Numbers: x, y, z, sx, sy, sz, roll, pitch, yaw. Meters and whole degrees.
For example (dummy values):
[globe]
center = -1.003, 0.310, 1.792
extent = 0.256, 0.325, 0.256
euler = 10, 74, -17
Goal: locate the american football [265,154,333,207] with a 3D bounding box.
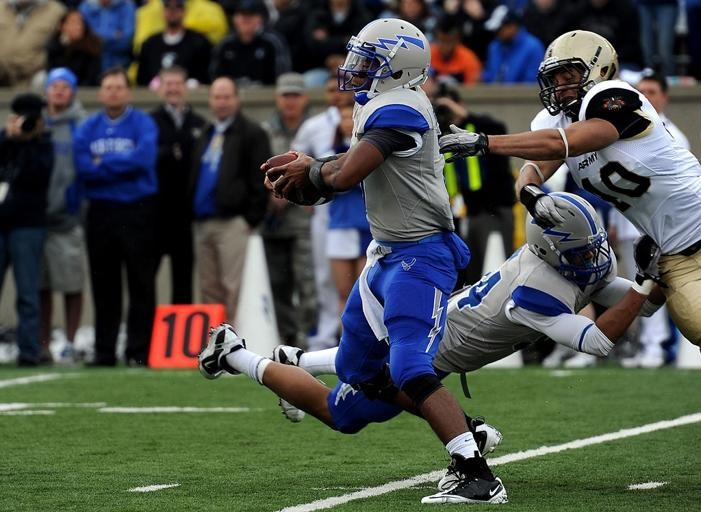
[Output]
[american football]
center = -0.253, -0.338, 5.270
extent = 0.271, 0.216, 0.166
euler = 24, -37, 1

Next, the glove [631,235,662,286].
[glove]
center = 1.413, 0.030, 5.459
extent = 0.077, 0.210, 0.165
euler = 2, 10, 6

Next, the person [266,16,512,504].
[person]
center = 0.203, -0.006, 5.389
extent = 1.064, 2.215, 0.697
euler = 0, 4, 8

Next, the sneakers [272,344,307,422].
[sneakers]
center = -0.323, 0.679, 6.060
extent = 0.206, 0.372, 0.136
euler = -12, -5, -11

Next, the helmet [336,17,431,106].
[helmet]
center = 0.159, -0.939, 5.523
extent = 0.422, 0.380, 0.350
euler = 0, 7, -1
